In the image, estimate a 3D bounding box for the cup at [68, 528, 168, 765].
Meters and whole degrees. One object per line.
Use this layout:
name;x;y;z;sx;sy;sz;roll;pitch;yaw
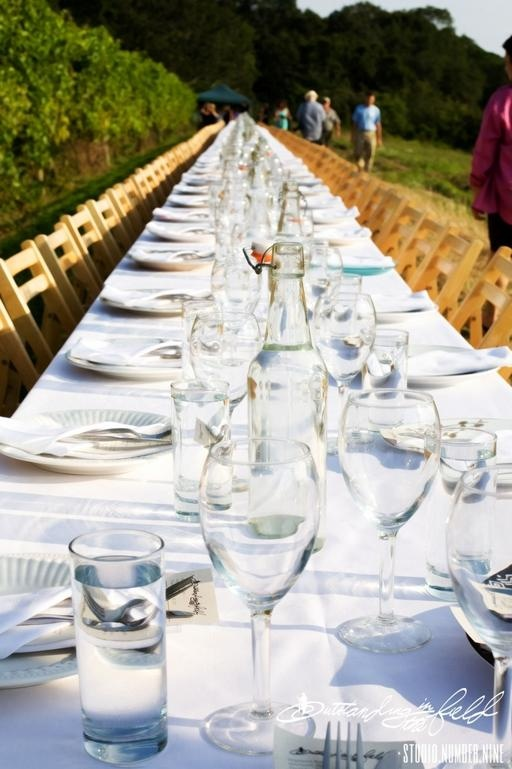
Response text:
cup;-0.096;0.197;0.475;0.077;0.163;0.056;2;9;-15

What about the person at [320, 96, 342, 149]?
person;2.043;-7.454;19.185;0.828;1.705;0.514;10;44;13
